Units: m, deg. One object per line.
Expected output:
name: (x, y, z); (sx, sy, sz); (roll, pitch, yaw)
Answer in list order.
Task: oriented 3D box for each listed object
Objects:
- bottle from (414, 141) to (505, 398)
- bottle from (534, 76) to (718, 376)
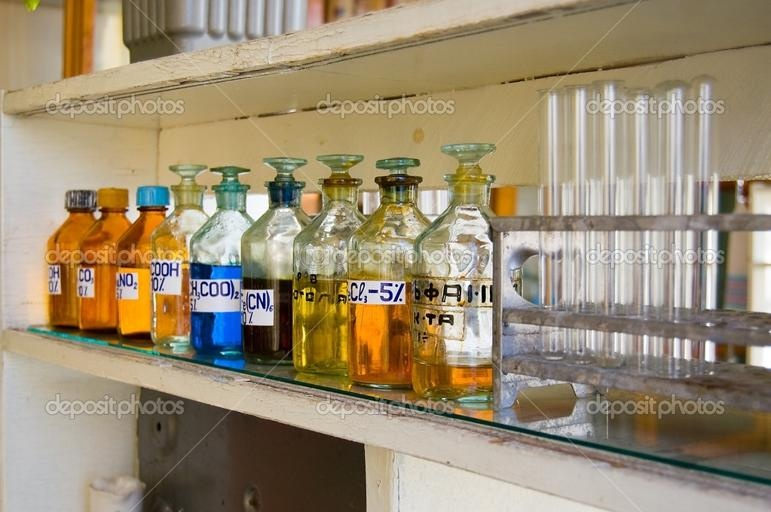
bottle: (0.122, 0.026, 1.431); (0.142, 0.457, 0.079); (0, 2, 5)
bottle: (0.401, -0.061, 1.316); (0.285, 0.464, 0.100); (1, 2, 12)
